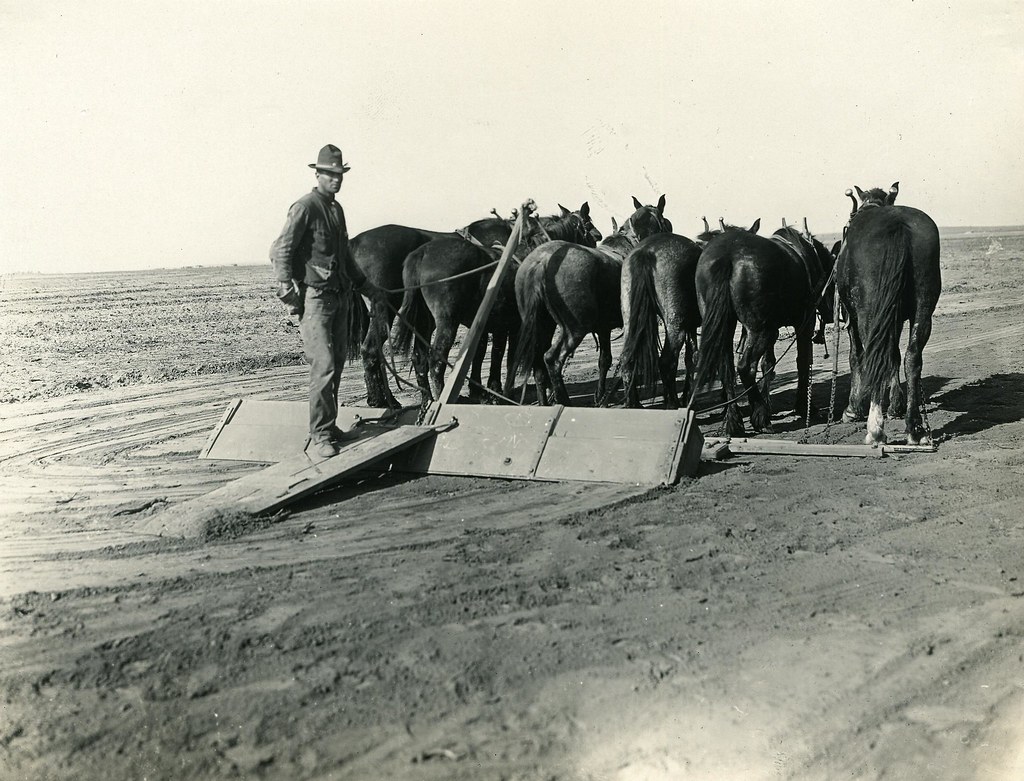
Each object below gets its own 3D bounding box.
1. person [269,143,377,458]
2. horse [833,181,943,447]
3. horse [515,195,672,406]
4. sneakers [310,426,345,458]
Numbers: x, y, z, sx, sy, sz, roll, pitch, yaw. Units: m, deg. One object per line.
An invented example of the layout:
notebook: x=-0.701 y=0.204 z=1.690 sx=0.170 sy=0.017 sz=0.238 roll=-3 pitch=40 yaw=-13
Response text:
person: x=-1.850 y=-0.877 z=7.383 sx=0.554 sy=2.927 sz=0.986 roll=4 pitch=12 yaw=26
horse: x=4.316 y=-0.922 z=8.793 sx=1.094 sy=2.963 sz=1.825 roll=4 pitch=12 yaw=26
horse: x=1.312 y=-1.385 z=11.299 sx=0.896 sy=2.805 sz=3.590 roll=20 pitch=27 yaw=37
sneakers: x=-1.839 y=0.472 z=7.434 sx=0.215 sy=0.180 sz=0.513 roll=-32 pitch=12 yaw=-6
